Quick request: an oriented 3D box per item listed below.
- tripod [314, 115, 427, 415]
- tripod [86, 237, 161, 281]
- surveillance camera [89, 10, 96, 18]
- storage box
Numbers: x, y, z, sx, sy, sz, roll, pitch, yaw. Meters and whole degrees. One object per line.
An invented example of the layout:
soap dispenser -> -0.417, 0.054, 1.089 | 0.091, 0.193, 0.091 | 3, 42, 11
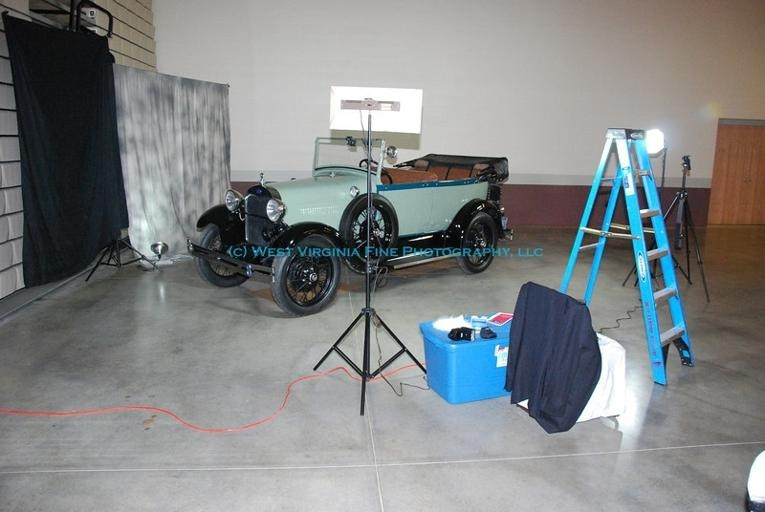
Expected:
tripod -> -0.108, -0.038, 4.313 | 0.949, 2.228, 1.175 | -7, 17, -28
tripod -> -3.454, -0.018, 6.902 | 0.814, 0.470, 0.824 | 3, 12, 6
surveillance camera -> -3.675, -3.080, 6.551 | 0.064, 0.087, 0.074 | -11, 53, -25
storage box -> 0.756, 0.854, 4.332 | 0.802, 0.521, 0.626 | -3, 10, -26
